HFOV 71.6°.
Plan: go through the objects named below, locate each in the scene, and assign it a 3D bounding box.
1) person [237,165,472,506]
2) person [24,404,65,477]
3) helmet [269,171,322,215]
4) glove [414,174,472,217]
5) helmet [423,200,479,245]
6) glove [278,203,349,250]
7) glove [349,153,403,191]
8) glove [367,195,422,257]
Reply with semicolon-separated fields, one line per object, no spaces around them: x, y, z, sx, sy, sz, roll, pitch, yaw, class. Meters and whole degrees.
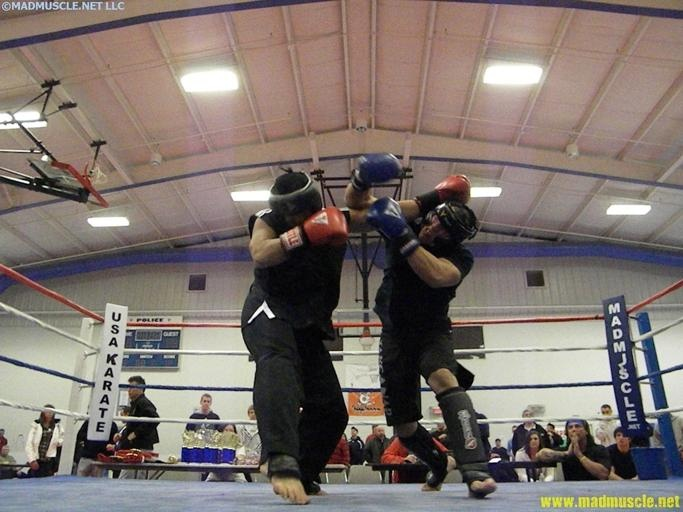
-0.157;0.322;2.172;0.594;1.413;0.711;-4;-26;6;person
-4.466;2.841;7.148;0.467;0.925;1.178;13;-27;-27;person
-0.207;-0.274;2.213;0.266;0.166;0.194;-18;-16;27;helmet
0.585;-0.326;2.637;0.310;0.209;0.115;-35;-30;-14;glove
0.612;-0.172;2.483;0.264;0.167;0.232;11;-12;-40;helmet
-0.083;-0.119;2.066;0.311;0.147;0.111;-18;-23;15;glove
0.170;-0.433;2.390;0.272;0.150;0.107;-5;-2;1;glove
0.247;-0.155;2.247;0.324;0.227;0.127;39;-61;-9;glove
